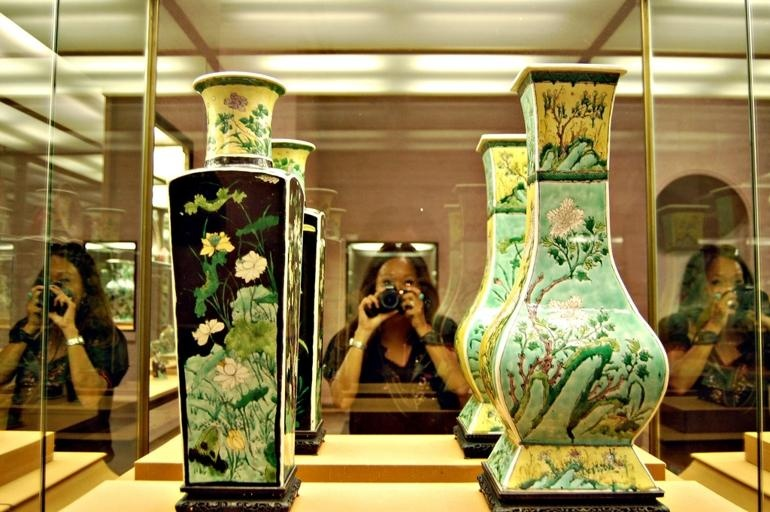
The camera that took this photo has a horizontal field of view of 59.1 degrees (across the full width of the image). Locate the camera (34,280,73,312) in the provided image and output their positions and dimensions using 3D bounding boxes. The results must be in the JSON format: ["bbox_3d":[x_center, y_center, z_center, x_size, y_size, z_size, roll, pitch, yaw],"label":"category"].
[{"bbox_3d":[-1.237,0.154,2.497,0.073,0.099,0.040,-14,1,-44],"label":"camera"}]

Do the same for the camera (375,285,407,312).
[{"bbox_3d":[0.040,0.193,2.975,0.108,0.110,0.114,0,-11,-3],"label":"camera"}]

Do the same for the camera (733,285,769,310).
[{"bbox_3d":[1.341,0.161,2.489,0.071,0.133,0.073,2,-36,2],"label":"camera"}]

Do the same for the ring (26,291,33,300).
[{"bbox_3d":[-1.266,0.144,2.401,0.005,0.027,0.019,1,0,39],"label":"ring"}]

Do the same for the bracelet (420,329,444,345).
[{"bbox_3d":[0.204,0.365,2.924,0.079,0.062,0.031,-2,8,-6],"label":"bracelet"}]

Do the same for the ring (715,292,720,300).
[{"bbox_3d":[1.292,0.156,2.618,0.005,0.018,0.019,6,-2,-41],"label":"ring"}]

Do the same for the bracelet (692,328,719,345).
[{"bbox_3d":[1.280,0.329,2.691,0.049,0.057,0.056,2,-10,3],"label":"bracelet"}]

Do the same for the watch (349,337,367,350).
[{"bbox_3d":[-0.117,0.385,2.905,0.061,0.044,0.066,-17,-30,33],"label":"watch"}]

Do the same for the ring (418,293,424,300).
[{"bbox_3d":[0.157,0.179,2.920,0.021,0.038,0.030,0,-3,-14],"label":"ring"}]
